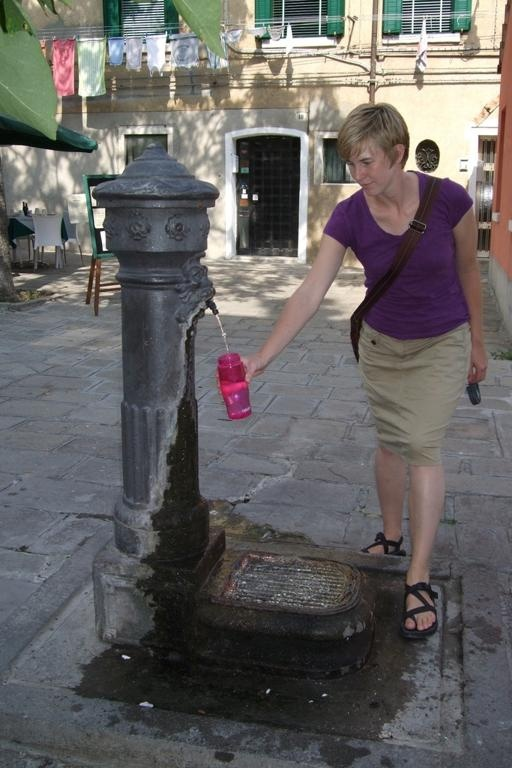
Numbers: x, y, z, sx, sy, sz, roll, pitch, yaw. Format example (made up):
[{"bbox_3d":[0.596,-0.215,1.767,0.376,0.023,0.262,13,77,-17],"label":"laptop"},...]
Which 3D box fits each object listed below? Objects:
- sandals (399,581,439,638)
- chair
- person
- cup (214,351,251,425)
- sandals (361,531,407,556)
[{"bbox_3d":[0.579,0.803,2.466,0.088,0.092,0.241,-1,4,8],"label":"sandals"},{"bbox_3d":[-4.260,-2.875,14.033,1.192,0.914,1.854,-1,10,-12],"label":"chair"},{"bbox_3d":[0.475,-0.073,2.615,0.630,1.782,0.731,7,16,25],"label":"person"},{"bbox_3d":[-0.074,0.015,2.298,0.102,0.262,0.194,-1,14,-2],"label":"cup"},{"bbox_3d":[0.549,0.685,3.002,0.181,0.093,0.085,4,-3,1],"label":"sandals"}]
